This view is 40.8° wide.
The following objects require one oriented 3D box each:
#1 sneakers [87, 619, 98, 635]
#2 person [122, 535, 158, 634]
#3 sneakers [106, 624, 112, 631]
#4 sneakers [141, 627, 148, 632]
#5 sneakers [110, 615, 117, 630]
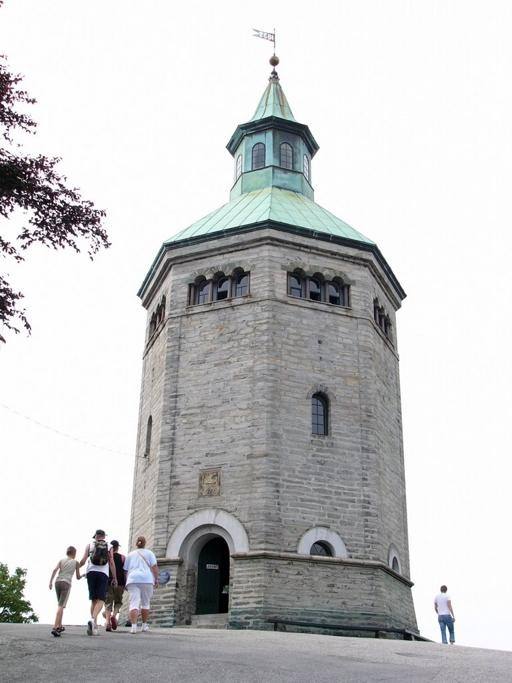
[{"bbox_3d":[-2.482,4.363,10.479,0.147,0.257,0.447,8,-28,-10],"label":"sneakers"},{"bbox_3d":[-2.040,4.228,12.022,0.581,1.666,1.260,7,-28,-8],"label":"person"},{"bbox_3d":[-2.605,5.077,12.192,0.056,0.119,0.161,2,-57,-7],"label":"sneakers"},{"bbox_3d":[-2.022,5.225,12.509,0.074,0.088,0.207,-1,-37,0],"label":"sneakers"},{"bbox_3d":[-2.557,5.119,12.435,0.100,0.274,0.119,-2,3,-2],"label":"sneakers"}]
